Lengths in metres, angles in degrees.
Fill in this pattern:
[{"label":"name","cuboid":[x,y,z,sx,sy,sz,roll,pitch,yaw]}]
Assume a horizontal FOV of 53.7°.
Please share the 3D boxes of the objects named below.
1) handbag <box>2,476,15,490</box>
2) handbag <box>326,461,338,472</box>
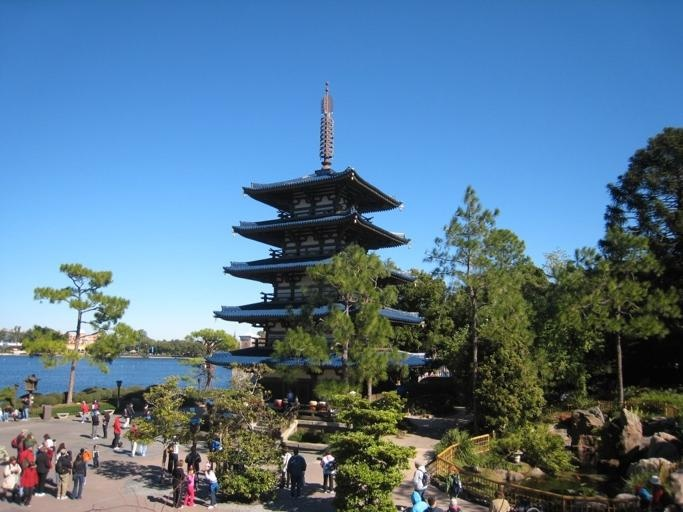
[{"label":"handbag","cuboid":[-19.193,13.144,38.975,0.812,0.828,0.497,-5,-15,25]},{"label":"handbag","cuboid":[-0.587,12.612,40.163,0.521,0.675,0.867,4,-15,-10]}]
